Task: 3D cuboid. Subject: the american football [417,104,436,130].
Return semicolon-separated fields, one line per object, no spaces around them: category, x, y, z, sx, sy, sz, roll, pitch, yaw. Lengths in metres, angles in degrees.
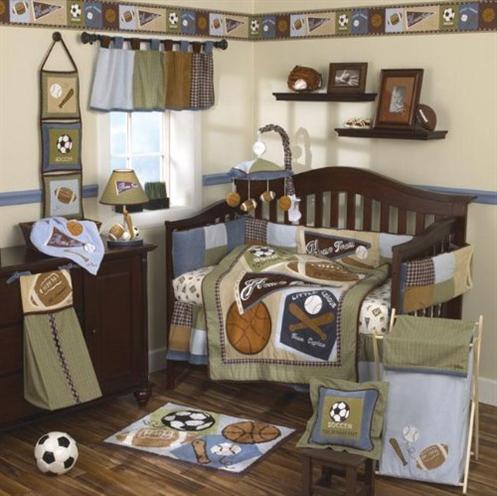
american football;1.043;-0.762;2.940;0.101;0.164;0.063;2;6;19

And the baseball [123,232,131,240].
baseball;-0.669;-0.067;2.773;0.037;0.047;0.044;2;6;13

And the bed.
bed;0.424;0.176;2.813;1.488;1.015;0.567;5;9;32

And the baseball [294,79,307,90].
baseball;0.351;-1.120;3.454;0.061;0.069;0.075;-20;39;-33

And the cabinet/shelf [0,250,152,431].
cabinet/shelf;-0.867;0.442;2.472;0.364;0.765;0.915;7;10;41

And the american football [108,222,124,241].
american football;-0.729;-0.089;2.781;0.087;0.080;0.059;0;6;-7

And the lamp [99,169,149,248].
lamp;-0.736;-0.254;2.922;0.264;0.408;0.438;-3;6;-27

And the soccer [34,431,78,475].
soccer;-0.809;0.870;2.128;0.165;0.183;0.110;-3;6;-26

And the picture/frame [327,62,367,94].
picture/frame;0.658;-1.107;3.286;0.283;0.208;0.020;3;1;33
